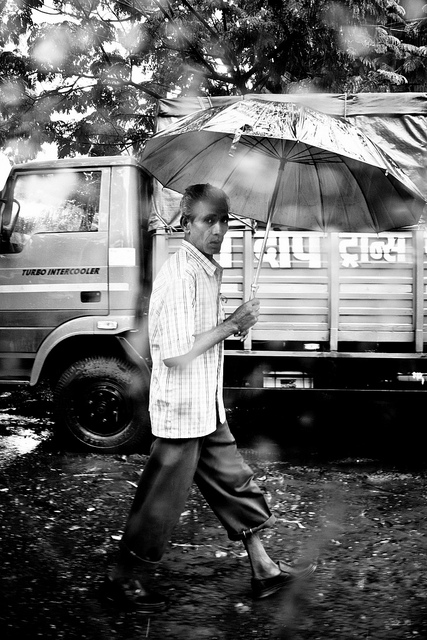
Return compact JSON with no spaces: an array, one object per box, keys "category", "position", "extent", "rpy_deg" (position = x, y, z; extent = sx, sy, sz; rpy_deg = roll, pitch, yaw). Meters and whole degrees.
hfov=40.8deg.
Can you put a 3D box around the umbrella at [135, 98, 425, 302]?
[{"category":"umbrella","position":[0.327,-0.547,2.638],"extent":[1.150,0.847,1.109],"rpy_deg":[0,1,-35]}]
